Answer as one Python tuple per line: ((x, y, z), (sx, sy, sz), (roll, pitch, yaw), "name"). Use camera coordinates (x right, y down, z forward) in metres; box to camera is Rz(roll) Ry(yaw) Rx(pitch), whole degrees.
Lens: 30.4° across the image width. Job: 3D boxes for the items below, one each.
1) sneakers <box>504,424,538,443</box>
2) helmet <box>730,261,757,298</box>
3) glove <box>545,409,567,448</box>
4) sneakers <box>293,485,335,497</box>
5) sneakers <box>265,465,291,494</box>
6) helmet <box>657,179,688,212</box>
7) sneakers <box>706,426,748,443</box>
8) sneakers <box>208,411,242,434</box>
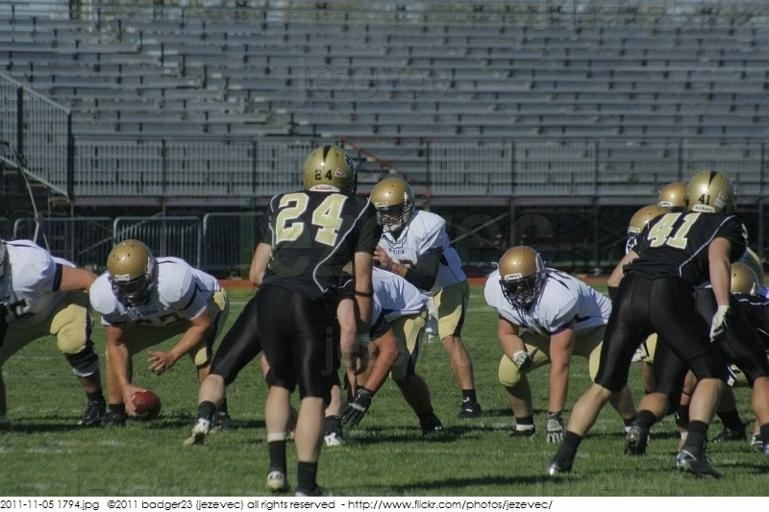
((1.917, 2.544, 20.101), (0.456, 0.186, 0.166), (2, -4, -1), "sneakers")
((5.129, 0.349, 20.330), (0.382, 0.439, 0.457), (-5, -17, 6), "helmet")
((2.366, 2.443, 19.835), (0.259, 0.428, 0.189), (-3, -5, 20), "glove")
((-0.954, 3.088, 18.493), (0.532, 0.215, 0.174), (0, 0, 2), "sneakers")
((-1.437, 2.938, 18.494), (0.199, 0.354, 0.166), (-3, 4, 7), "sneakers")
((4.273, -0.910, 21.188), (0.353, 0.373, 0.474), (-6, -13, 39), "helmet")
((4.872, 2.583, 20.215), (0.576, 0.220, 0.191), (1, -3, 4), "sneakers")
((-2.333, 2.396, 20.175), (0.175, 0.222, 0.510), (-1, -12, 13), "sneakers")
